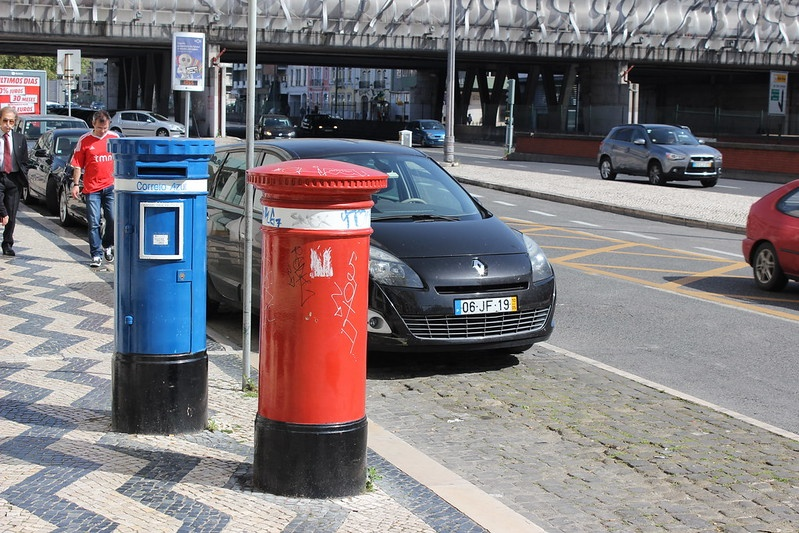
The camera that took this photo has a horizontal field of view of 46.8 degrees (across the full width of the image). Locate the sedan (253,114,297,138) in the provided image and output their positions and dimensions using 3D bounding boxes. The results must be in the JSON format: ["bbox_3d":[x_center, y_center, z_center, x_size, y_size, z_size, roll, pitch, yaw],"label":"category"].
[{"bbox_3d":[-6.825,-7.689,50.247,1.706,1.368,2.845,-2,3,-20],"label":"sedan"}]

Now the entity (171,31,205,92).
[{"bbox_3d":[-3.599,-3.476,15.720,0.487,0.974,1.049,1,12,-9],"label":"entity"}]

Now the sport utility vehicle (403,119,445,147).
[{"bbox_3d":[1.673,-8.354,58.424,1.934,1.447,3.350,-4,7,-25],"label":"sport utility vehicle"}]

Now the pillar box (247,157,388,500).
[{"bbox_3d":[-0.542,0.453,6.036,0.795,2.100,0.460,2,12,-4],"label":"pillar box"}]

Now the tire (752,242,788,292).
[{"bbox_3d":[5.170,0.013,12.802,0.201,0.595,0.593,-3,11,-13],"label":"tire"}]

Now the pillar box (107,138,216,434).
[{"bbox_3d":[-1.765,0.146,6.867,0.742,2.150,0.565,0,12,-12],"label":"pillar box"}]

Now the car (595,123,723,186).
[{"bbox_3d":[8.373,-3.592,29.868,1.911,1.533,3.567,-3,7,-28],"label":"car"}]

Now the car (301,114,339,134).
[{"bbox_3d":[-6.356,-10.849,71.121,1.506,1.067,2.450,-4,3,-27],"label":"car"}]
